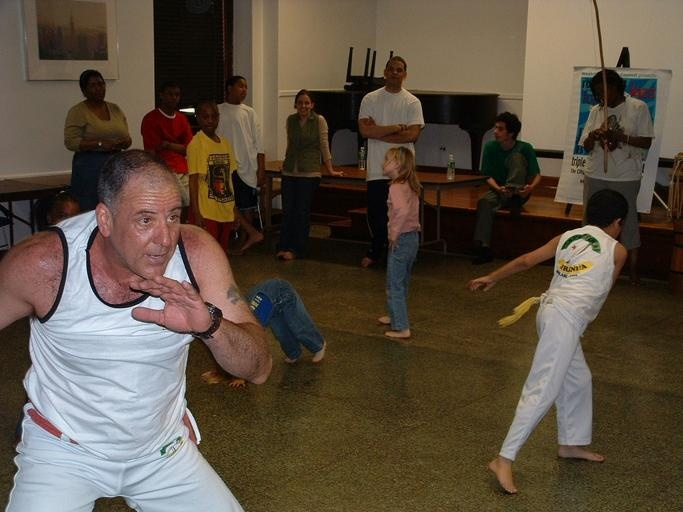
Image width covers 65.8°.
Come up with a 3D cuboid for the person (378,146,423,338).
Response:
[{"bbox_3d":[0.508,-0.137,4.609,0.318,1.527,0.681,2,13,5],"label":"person"}]

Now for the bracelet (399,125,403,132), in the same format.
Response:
[{"bbox_3d":[0.661,-1.437,5.906,0.047,0.049,0.033,4,1,20],"label":"bracelet"}]

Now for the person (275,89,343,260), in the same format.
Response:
[{"bbox_3d":[-0.495,-1.046,6.741,0.606,2.084,0.774,4,13,17],"label":"person"}]

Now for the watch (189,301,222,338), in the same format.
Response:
[{"bbox_3d":[-0.349,0.160,1.357,0.070,0.043,0.067,32,62,14],"label":"watch"}]

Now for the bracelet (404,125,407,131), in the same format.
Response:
[{"bbox_3d":[0.708,-1.443,5.929,0.047,0.048,0.049,-1,-4,24],"label":"bracelet"}]

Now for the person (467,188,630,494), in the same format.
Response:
[{"bbox_3d":[1.086,0.398,2.781,1.005,1.434,0.560,-10,16,-38],"label":"person"}]

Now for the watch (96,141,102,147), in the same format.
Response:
[{"bbox_3d":[-2.512,-1.165,5.485,0.054,0.055,0.026,1,13,3],"label":"watch"}]
